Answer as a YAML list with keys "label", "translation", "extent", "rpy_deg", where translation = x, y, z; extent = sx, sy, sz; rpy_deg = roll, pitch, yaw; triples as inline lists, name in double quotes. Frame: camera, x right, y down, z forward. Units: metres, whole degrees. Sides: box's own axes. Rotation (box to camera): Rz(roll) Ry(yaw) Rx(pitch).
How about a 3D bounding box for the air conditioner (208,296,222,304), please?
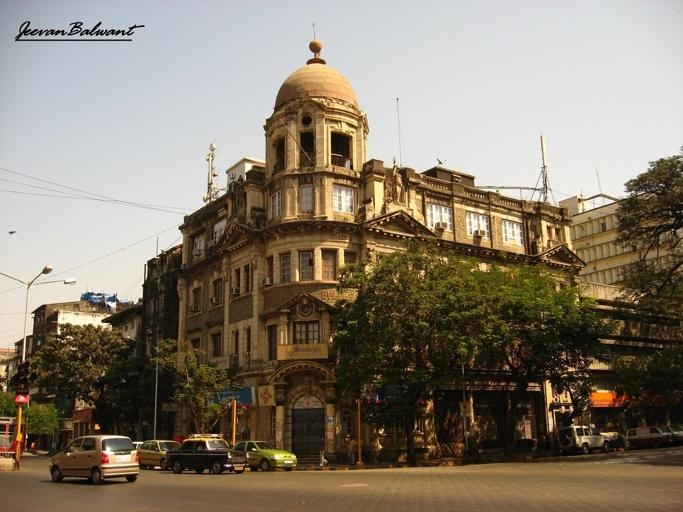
- label: "air conditioner"
  translation: [-10.582, 3.731, 63.668]
  extent: [0.634, 0.818, 1.300]
  rpy_deg: [12, -24, -30]

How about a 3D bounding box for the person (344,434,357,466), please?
- label: "person"
  translation: [0.603, 13.269, 52.386]
  extent: [0.952, 2.044, 0.766]
  rpy_deg: [-10, -22, 23]

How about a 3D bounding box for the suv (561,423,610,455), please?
- label: "suv"
  translation: [18.620, 14.174, 58.672]
  extent: [3.410, 2.128, 1.305]
  rpy_deg: [6, -22, -18]

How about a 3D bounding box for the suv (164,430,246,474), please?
- label: "suv"
  translation: [-7.783, 11.603, 44.418]
  extent: [4.081, 1.844, 2.252]
  rpy_deg: [-15, -25, 32]

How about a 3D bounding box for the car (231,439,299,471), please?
- label: "car"
  translation: [-4.543, 12.396, 47.404]
  extent: [3.787, 1.385, 1.874]
  rpy_deg: [-15, -22, 37]

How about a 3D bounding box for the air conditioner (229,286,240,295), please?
- label: "air conditioner"
  translation: [-8.461, 2.777, 60.666]
  extent: [0.761, 0.756, 0.694]
  rpy_deg: [1, -21, -6]

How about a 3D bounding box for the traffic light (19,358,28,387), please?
- label: "traffic light"
  translation: [-18.098, 6.660, 43.332]
  extent: [0.511, 1.274, 1.231]
  rpy_deg: [8, -22, -22]

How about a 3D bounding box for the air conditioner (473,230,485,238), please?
- label: "air conditioner"
  translation: [11.563, -1.842, 63.626]
  extent: [1.118, 0.618, 0.737]
  rpy_deg: [-1, -2, -24]

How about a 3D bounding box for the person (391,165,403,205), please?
- label: "person"
  translation: [4.328, -5.460, 59.382]
  extent: [0.534, 2.855, 1.401]
  rpy_deg: [-14, -24, 31]

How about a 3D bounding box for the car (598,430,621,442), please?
- label: "car"
  translation: [21.140, 14.207, 59.581]
  extent: [1.702, 0.593, 1.189]
  rpy_deg: [13, -18, -25]

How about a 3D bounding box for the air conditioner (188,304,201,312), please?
- label: "air conditioner"
  translation: [-12.814, 4.640, 66.678]
  extent: [0.392, 0.582, 1.211]
  rpy_deg: [5, -7, -32]

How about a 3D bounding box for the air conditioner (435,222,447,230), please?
- label: "air conditioner"
  translation: [8.058, -2.410, 61.412]
  extent: [1.224, 0.638, 0.789]
  rpy_deg: [1, -5, -36]
